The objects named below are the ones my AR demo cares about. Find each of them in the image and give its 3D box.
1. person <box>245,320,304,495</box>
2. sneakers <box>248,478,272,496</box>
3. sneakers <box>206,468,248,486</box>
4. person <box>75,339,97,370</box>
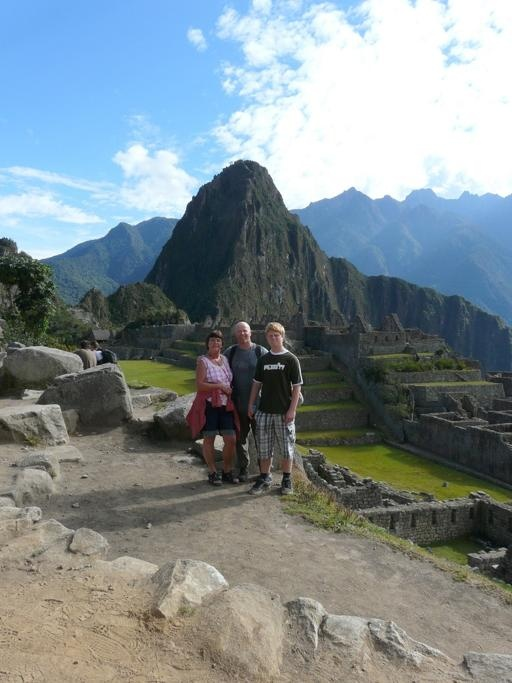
[{"bbox_3d":[0.222,0.875,6.984,0.645,2.100,0.544,9,1,1],"label":"person"},{"bbox_3d":[0.049,1.871,7.232,0.126,0.149,0.344,-9,-19,27],"label":"sneakers"},{"bbox_3d":[-0.400,1.838,7.663,0.602,0.255,0.204,0,3,-1],"label":"sneakers"},{"bbox_3d":[-3.537,0.277,11.812,0.400,0.542,1.025,9,1,-16],"label":"person"}]
